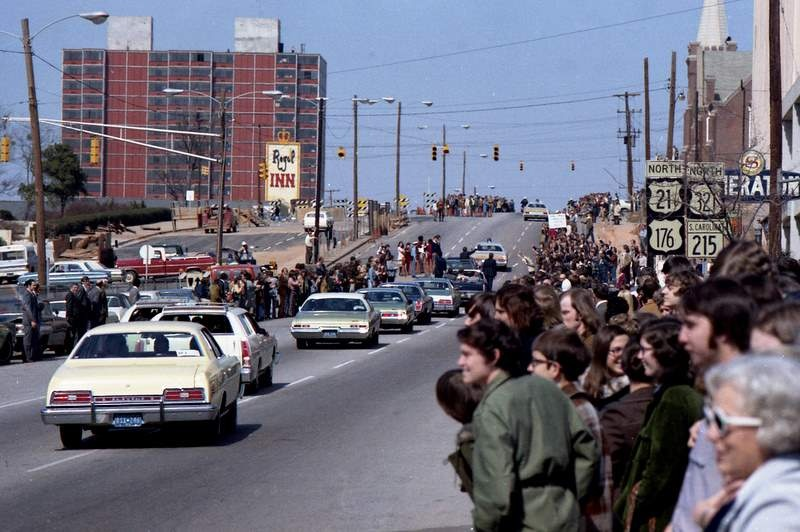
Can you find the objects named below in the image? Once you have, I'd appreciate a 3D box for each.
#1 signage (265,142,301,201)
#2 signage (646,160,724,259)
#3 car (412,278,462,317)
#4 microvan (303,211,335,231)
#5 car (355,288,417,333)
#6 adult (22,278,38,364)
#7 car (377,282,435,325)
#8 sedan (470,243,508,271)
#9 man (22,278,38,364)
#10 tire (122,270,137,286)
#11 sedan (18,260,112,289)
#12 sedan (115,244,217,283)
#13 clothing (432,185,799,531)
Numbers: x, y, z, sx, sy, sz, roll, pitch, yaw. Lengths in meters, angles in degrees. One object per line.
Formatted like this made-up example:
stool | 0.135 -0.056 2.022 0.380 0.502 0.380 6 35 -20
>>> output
signage | -7.467 -6.128 82.208 1.973 3.440 3.818 -1 4 -12
signage | 7.055 -1.372 32.137 2.529 3.375 0.156 -1 -1 19
car | 1.284 0.895 45.721 1.121 0.889 2.562 -10 18 -2
microvan | -5.115 -2.744 79.700 1.048 0.893 2.233 1 9 10
car | -0.434 1.293 36.866 1.208 0.900 2.489 1 -2 3
adult | -9.105 1.407 31.957 0.435 2.075 1.800 -1 4 -16
car | 0.138 1.180 39.966 1.241 0.956 2.861 0 -2 6
sedan | 4.062 -0.403 59.129 1.324 1.041 3.080 0 2 4
man | -9.105 1.407 31.957 0.435 2.075 1.800 -1 4 -16
tire | -10.852 0.481 51.682 0.571 0.617 0.228 -1 -2 10
sedan | -12.865 0.324 50.140 2.430 0.790 1.246 0 0 7
sedan | -10.521 -0.612 57.843 4.473 1.744 2.184 -1 -1 -2
clothing | 2.947 1.026 17.436 3.677 5.351 1.910 -3 -39 10
